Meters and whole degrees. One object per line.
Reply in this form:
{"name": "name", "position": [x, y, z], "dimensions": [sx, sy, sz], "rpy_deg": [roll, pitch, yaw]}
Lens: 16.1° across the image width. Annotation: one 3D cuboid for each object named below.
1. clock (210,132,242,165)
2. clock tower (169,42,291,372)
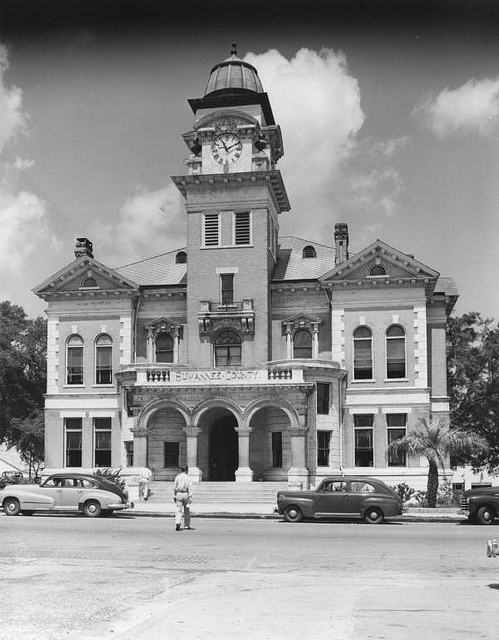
{"name": "clock", "position": [-0.850, -6.140, 62.545], "dimensions": [1.037, 1.257, 0.159], "rpy_deg": [-3, -7, 13]}
{"name": "clock tower", "position": [-0.687, -4.298, 62.706], "dimensions": [3.251, 12.255, 2.702], "rpy_deg": [1, -9, -2]}
